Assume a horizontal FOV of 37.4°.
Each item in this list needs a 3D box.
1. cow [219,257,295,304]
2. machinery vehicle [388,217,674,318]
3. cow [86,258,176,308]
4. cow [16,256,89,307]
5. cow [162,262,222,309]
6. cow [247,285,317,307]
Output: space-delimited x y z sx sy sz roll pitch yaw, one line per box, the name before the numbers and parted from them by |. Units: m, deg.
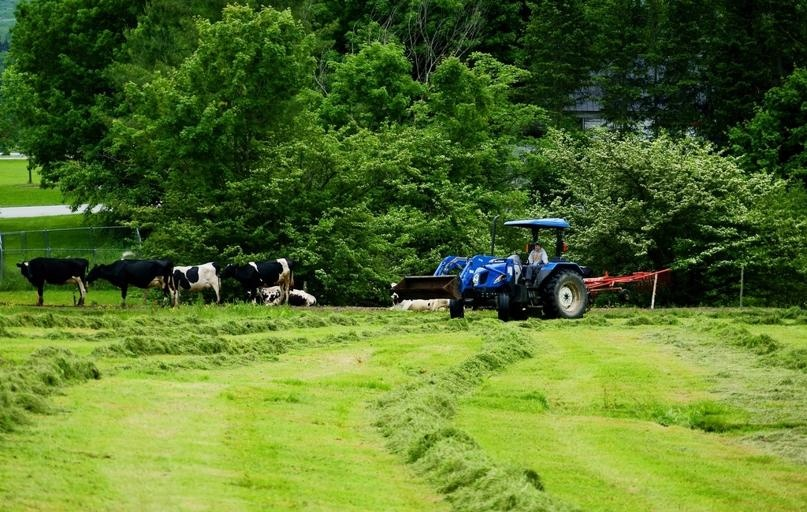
cow | -6.454 0.931 49.235 4.504 2.459 1.263 1 -4 0
machinery vehicle | 4.268 0.632 42.747 8.889 3.188 3.306 5 -7 -33
cow | -9.951 0.936 48.448 5.177 2.484 1.401 2 -4 1
cow | -14.010 1.039 48.075 2.376 1.905 3.252 1 -2 -25
cow | -8.302 0.905 48.871 2.984 1.619 0.972 2 -3 -6
cow | -5.034 1.645 50.437 2.519 1.219 0.882 5 -4 0
